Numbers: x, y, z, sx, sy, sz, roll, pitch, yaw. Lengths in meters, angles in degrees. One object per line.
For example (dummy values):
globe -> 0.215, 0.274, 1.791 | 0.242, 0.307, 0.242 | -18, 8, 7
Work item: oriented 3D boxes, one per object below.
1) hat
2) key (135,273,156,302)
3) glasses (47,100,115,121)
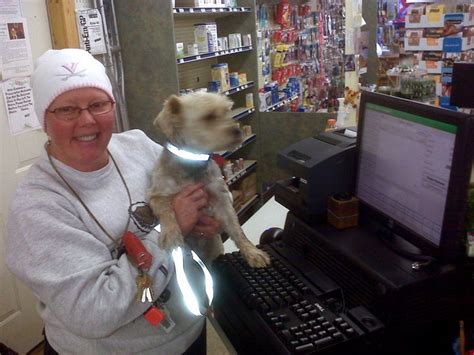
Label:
hat -> -0.661, -0.341, 1.449 | 0.267, 0.304, 0.332 | -10, 19, -42
key -> -0.351, 0.427, 1.416 | 0.060, 0.115, 0.060 | -10, 23, -13
glasses -> -0.598, -0.262, 1.454 | 0.249, 0.050, 0.077 | -16, 26, -26
